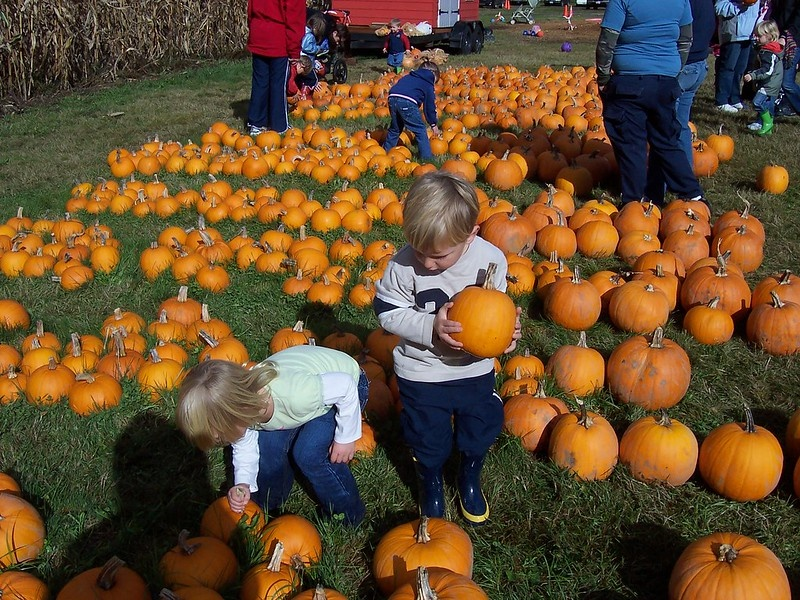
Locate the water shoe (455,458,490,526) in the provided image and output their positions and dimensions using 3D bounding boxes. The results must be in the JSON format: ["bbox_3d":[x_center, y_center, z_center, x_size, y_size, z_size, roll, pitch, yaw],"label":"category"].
[{"bbox_3d":[0.441,1.201,3.935,0.157,0.335,0.352,-10,52,-11],"label":"water shoe"}]

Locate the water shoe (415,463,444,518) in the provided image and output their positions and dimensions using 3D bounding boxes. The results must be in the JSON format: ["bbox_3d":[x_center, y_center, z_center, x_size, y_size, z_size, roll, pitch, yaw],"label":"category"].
[{"bbox_3d":[0.184,1.169,3.880,0.125,0.278,0.393,-4,48,-5],"label":"water shoe"}]

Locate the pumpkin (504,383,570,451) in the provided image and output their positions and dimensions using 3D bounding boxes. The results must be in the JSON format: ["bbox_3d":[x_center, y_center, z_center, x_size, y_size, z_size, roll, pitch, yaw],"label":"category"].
[{"bbox_3d":[0.881,0.804,4.404,0.430,0.436,0.446,5,12,-4],"label":"pumpkin"}]

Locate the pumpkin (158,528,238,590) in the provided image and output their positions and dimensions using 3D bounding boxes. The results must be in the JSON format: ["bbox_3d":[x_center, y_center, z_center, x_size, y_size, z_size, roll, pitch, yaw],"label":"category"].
[{"bbox_3d":[-1.140,1.421,3.570,0.333,0.362,0.352,-5,8,-38],"label":"pumpkin"}]

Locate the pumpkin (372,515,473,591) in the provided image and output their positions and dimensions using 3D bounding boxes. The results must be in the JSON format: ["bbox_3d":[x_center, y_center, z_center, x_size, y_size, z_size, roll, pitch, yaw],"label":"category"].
[{"bbox_3d":[0.108,1.358,3.575,0.435,0.468,0.462,2,1,-15],"label":"pumpkin"}]

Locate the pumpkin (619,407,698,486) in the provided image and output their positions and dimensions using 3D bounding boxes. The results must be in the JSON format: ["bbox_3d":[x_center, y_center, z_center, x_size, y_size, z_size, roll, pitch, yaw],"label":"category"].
[{"bbox_3d":[1.647,0.938,4.257,0.444,0.477,0.464,8,5,-2],"label":"pumpkin"}]

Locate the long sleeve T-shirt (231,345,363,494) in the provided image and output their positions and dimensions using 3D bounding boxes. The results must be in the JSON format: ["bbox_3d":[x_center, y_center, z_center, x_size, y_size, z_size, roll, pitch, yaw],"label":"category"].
[{"bbox_3d":[-0.583,0.539,3.805,0.652,0.538,0.932,0,34,36],"label":"long sleeve T-shirt"}]

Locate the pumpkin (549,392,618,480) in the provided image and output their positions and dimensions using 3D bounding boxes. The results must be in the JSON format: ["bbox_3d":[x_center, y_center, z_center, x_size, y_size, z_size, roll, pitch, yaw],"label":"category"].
[{"bbox_3d":[1.172,0.864,4.258,0.440,0.625,0.480,2,10,-3],"label":"pumpkin"}]

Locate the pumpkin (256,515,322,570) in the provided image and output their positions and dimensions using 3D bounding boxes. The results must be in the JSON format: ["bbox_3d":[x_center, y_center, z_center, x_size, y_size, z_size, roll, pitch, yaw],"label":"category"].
[{"bbox_3d":[-0.640,1.380,3.692,0.248,0.271,0.258,-5,15,10],"label":"pumpkin"}]

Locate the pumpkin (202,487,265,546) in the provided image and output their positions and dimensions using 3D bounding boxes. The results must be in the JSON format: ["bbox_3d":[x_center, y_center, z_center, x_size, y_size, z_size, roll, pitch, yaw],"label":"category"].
[{"bbox_3d":[-0.990,1.249,3.752,0.249,0.253,0.253,5,6,-25],"label":"pumpkin"}]

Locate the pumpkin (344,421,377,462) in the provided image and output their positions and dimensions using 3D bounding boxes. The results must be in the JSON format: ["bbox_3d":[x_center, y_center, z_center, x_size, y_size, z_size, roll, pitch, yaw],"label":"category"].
[{"bbox_3d":[-0.277,0.973,4.348,0.093,0.167,0.305,-9,45,10],"label":"pumpkin"}]
